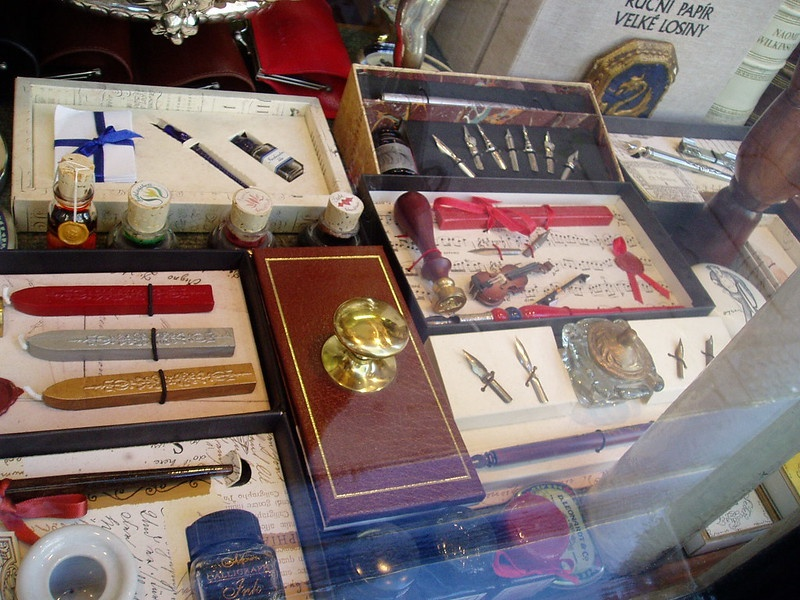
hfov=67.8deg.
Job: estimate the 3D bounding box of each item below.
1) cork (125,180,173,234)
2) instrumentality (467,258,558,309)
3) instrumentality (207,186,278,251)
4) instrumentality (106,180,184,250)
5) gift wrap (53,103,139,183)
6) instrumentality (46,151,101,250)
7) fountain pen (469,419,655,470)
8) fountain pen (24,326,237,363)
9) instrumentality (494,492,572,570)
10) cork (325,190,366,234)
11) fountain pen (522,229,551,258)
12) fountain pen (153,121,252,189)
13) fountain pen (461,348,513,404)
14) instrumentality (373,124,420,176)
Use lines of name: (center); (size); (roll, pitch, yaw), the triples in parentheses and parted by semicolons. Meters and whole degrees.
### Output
cork: (-0.421, -0.152, 0.996); (0.068, 0.072, 0.067); (-4, 40, -22)
instrumentality: (0.208, -0.041, 1.109); (0.167, 0.043, 0.066); (-21, 55, -37)
instrumentality: (-0.287, -0.143, 1.074); (0.085, 0.091, 0.084); (-31, 72, -37)
instrumentality: (-0.421, -0.128, 1.017); (0.117, 0.122, 0.112); (6, 42, -31)
gift wrap: (-0.563, -0.289, 1.167); (0.186, 0.050, 0.171); (-8, 53, 0)
instrumentality: (-0.545, -0.143, 0.993); (0.074, 0.199, 0.072); (-23, 67, -42)
fountain pen: (0.203, 0.176, 0.717); (0.280, 0.037, 0.037); (-7, 10, 8)
fountain pen: (-0.421, 0.069, 0.904); (0.257, 0.043, 0.040); (-1, 48, -22)
instrumentality: (0.148, 0.251, 0.640); (0.067, 0.019, 0.085); (17, 35, 6)
cork: (-0.103, -0.158, 1.156); (0.073, 0.073, 0.076); (17, 37, -19)
fountain pen: (0.273, -0.115, 1.238); (0.031, 0.028, 0.086); (40, 57, 12)
fountain pen: (-0.410, -0.290, 1.217); (0.289, 0.023, 0.049); (35, 53, 6)
fountain pen: (0.122, 0.103, 0.831); (0.031, 0.016, 0.075); (-39, 51, -8)
instrumentality: (-0.024, -0.316, 1.299); (0.084, 0.076, 0.124); (-8, 75, -3)
